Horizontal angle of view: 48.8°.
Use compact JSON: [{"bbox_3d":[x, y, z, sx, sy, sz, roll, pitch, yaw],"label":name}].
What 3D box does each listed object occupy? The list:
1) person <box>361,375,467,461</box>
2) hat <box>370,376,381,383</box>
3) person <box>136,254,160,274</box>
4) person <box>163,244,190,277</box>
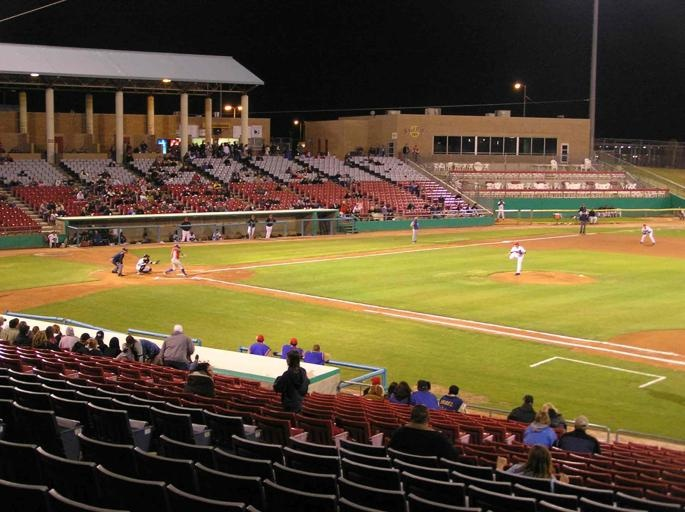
[{"bbox_3d":[1.098,2.535,11.113,1.042,1.190,0.768,17,31,32],"label":"person"},{"bbox_3d":[0.815,3.062,18.420,0.163,0.262,0.168,-1,4,-20],"label":"hat"},{"bbox_3d":[-9.043,0.397,34.122,1.249,0.971,0.894,-2,17,-2],"label":"person"},{"bbox_3d":[-8.027,0.272,36.384,1.503,1.774,0.857,-9,23,-24],"label":"person"}]
